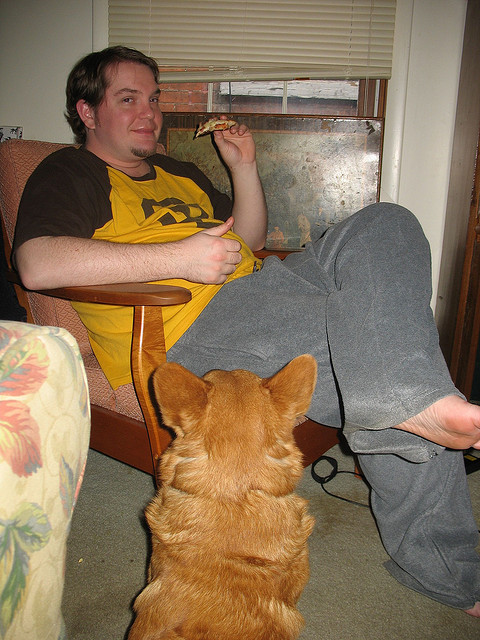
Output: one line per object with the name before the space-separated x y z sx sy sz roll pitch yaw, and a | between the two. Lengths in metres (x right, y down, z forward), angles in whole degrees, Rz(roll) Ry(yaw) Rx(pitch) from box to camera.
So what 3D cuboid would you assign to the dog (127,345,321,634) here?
dog | -0.016 0.360 1.117 0.297 0.747 0.502 5 -19 0
